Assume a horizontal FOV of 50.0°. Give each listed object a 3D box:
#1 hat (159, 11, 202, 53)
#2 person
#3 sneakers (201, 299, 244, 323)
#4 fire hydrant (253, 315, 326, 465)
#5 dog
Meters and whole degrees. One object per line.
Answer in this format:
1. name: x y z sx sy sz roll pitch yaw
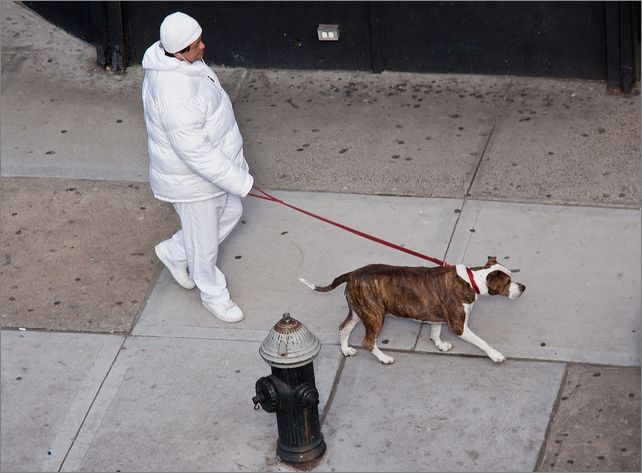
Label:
1. hat: -1.038 -1.488 5.121 0.266 0.229 0.291 -21 34 26
2. person: -0.943 -0.482 5.464 0.709 2.214 1.086 -22 46 -22
3. sneakers: -0.828 0.619 5.786 0.337 0.148 0.155 22 49 26
4. fire hydrant: -0.215 1.102 4.719 0.519 1.029 0.500 -15 29 -18
5. dog: 0.753 0.610 5.366 1.312 0.723 0.361 -3 41 6
